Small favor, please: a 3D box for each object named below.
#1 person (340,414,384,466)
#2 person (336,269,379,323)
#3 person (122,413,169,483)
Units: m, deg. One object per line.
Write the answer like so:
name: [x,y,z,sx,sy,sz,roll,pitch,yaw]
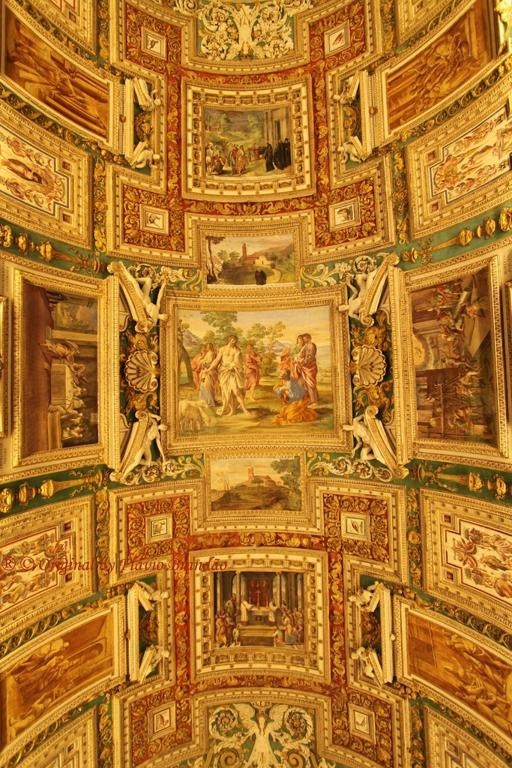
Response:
person: [1.667,0.894,12.974,0.466,0.557,0.779,-11,-88,1]
person: [1.593,-1.457,13.003,0.393,0.545,0.816,14,-88,0]
person: [-1.920,0.992,13.101,0.783,0.654,1.126,-2,-78,-39]
